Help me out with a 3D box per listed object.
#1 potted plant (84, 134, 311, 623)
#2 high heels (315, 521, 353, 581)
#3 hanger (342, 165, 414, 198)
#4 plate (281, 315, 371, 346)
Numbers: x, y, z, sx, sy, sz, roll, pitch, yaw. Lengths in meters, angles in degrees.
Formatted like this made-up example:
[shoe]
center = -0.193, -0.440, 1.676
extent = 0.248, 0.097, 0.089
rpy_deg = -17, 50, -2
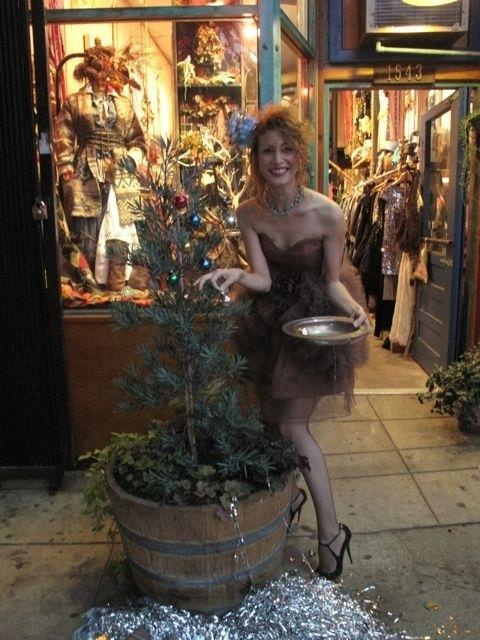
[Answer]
[potted plant]
center = -0.182, 0.162, 1.581
extent = 0.641, 1.510, 0.982
rpy_deg = -3, 5, -19
[high heels]
center = 0.316, 0.801, 1.738
extent = 0.155, 0.197, 0.130
rpy_deg = 5, 14, -1
[hanger]
center = 1.582, -1.634, 5.561
extent = 0.260, 0.328, 0.864
rpy_deg = 22, -13, -40
[plate]
center = 0.260, 0.025, 1.477
extent = 0.128, 0.029, 0.137
rpy_deg = -6, 1, 11
